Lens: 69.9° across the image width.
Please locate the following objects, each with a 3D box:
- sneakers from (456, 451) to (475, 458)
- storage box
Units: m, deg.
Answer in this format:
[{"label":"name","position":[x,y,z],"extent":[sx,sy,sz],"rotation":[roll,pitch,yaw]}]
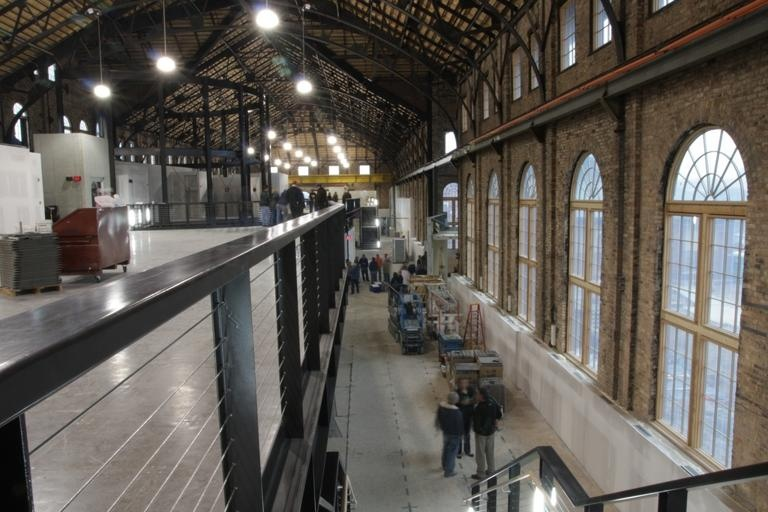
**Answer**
[{"label":"sneakers","position":[2.064,5.035,13.962],"extent":[0.445,0.207,0.161],"rotation":[-3,9,-1]},{"label":"storage box","position":[2.747,3.490,17.239],"extent":[0.834,1.099,2.698],"rotation":[-1,7,-2]}]
